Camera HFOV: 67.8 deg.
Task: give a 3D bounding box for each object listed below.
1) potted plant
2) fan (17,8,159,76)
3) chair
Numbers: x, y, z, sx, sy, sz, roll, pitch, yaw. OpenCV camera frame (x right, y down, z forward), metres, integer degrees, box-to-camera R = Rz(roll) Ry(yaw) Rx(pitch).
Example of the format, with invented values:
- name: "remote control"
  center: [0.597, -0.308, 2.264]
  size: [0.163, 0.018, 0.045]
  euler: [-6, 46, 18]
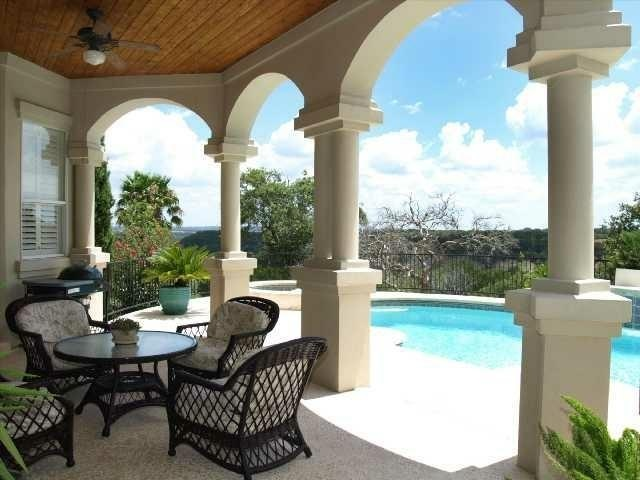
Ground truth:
- name: "potted plant"
  center: [-2.781, 0.743, 9.497]
  size: [1.186, 1.303, 1.097]
  euler: [10, -1, -19]
- name: "fan"
  center: [-2.527, -2.242, 5.390]
  size: [0.880, 0.469, 0.989]
  euler: [-6, 8, -31]
- name: "chair"
  center: [-1.133, 1.177, 3.871]
  size: [1.973, 0.911, 1.109]
  euler: [2, -2, 34]
